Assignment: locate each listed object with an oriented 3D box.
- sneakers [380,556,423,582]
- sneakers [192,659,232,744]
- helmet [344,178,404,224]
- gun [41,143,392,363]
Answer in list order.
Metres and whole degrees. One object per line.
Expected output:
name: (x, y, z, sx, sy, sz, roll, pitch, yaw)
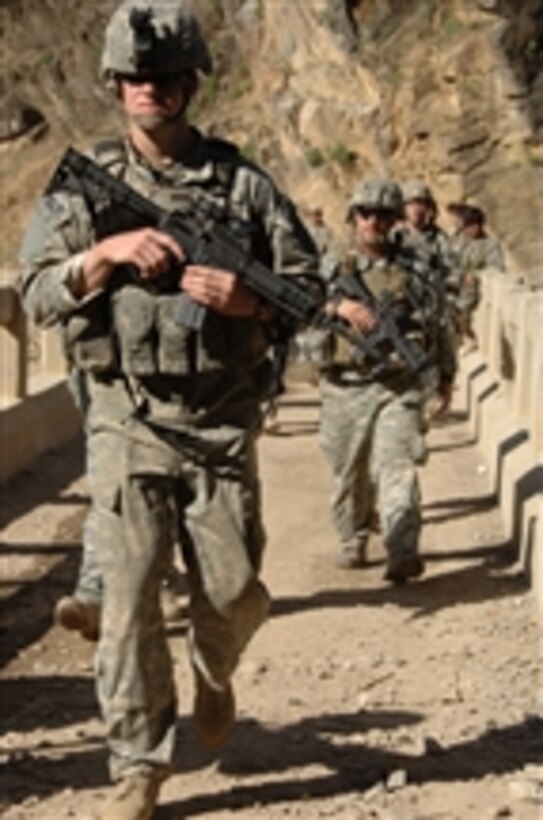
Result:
sneakers: (0.704, 0.877, 4.674, 0.122, 0.126, 0.285, -6, -7, -12)
sneakers: (-0.174, 0.876, 2.580, 0.104, 0.255, 0.110, -1, -6, -1)
helmet: (0.587, -1.211, 4.938, 0.261, 0.193, 0.275, 3, 24, 4)
gun: (-0.233, -0.471, 2.309, 0.758, 0.457, 0.204, 0, 2, 2)
